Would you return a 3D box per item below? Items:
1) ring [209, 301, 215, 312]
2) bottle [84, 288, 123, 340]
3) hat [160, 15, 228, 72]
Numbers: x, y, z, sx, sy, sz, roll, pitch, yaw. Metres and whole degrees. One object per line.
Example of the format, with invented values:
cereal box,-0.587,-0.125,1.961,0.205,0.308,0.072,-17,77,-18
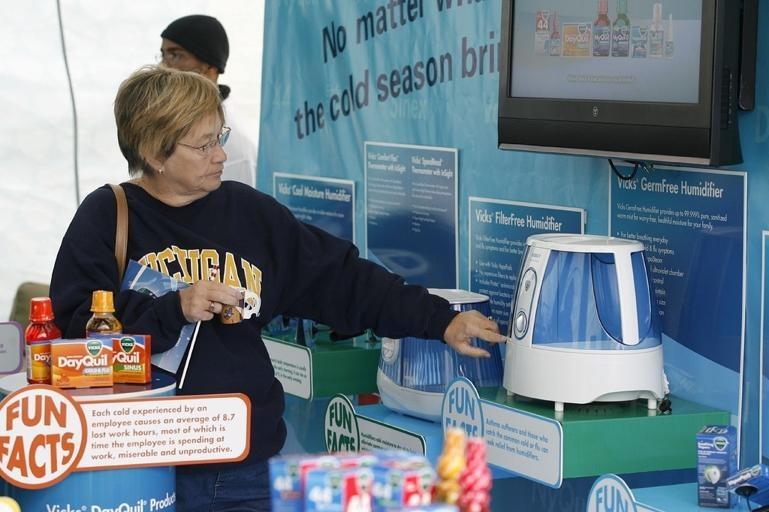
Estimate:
ring,-0.505,0.148,2.362,0.017,0.031,0.026,6,-17,-16
bottle,-0.797,0.155,2.283,0.086,0.122,0.212,-4,9,-21
hat,-0.942,-1.056,4.021,0.316,0.284,0.154,-4,7,-15
